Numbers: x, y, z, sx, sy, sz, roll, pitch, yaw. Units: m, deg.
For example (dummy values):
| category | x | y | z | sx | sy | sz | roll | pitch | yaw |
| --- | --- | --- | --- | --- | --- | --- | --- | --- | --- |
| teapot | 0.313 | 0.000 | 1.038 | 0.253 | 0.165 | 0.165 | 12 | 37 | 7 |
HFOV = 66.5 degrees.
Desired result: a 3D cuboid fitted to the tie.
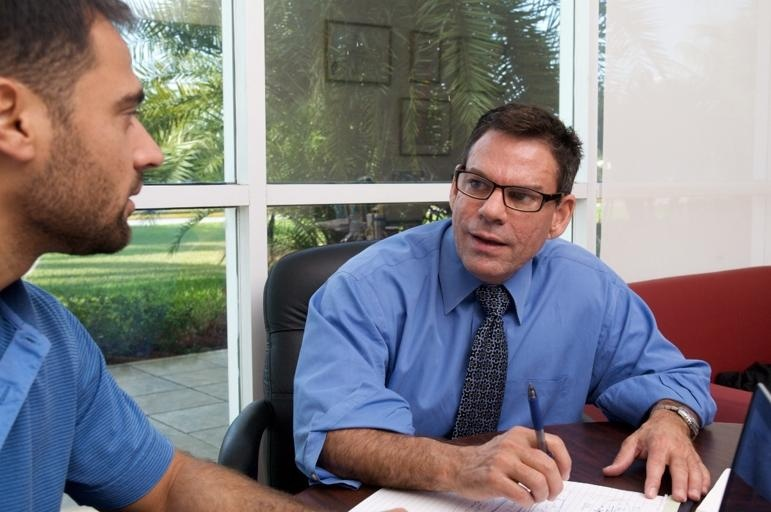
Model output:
| category | x | y | z | sx | sy | sz | roll | pitch | yaw |
| --- | --- | --- | --- | --- | --- | --- | --- | --- | --- |
| tie | 0.312 | 0.324 | 1.856 | 0.140 | 0.435 | 0.268 | 4 | 11 | 15 |
